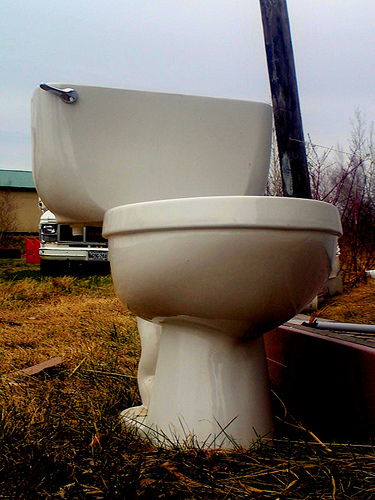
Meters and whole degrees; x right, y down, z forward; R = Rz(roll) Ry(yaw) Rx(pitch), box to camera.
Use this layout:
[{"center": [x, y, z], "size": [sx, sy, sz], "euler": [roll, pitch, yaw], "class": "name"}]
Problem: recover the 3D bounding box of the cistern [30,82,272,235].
[{"center": [-0.033, -0.293, 1.264], "size": [0.603, 0.315, 0.364], "euler": [8, 30, 7], "class": "cistern"}]
